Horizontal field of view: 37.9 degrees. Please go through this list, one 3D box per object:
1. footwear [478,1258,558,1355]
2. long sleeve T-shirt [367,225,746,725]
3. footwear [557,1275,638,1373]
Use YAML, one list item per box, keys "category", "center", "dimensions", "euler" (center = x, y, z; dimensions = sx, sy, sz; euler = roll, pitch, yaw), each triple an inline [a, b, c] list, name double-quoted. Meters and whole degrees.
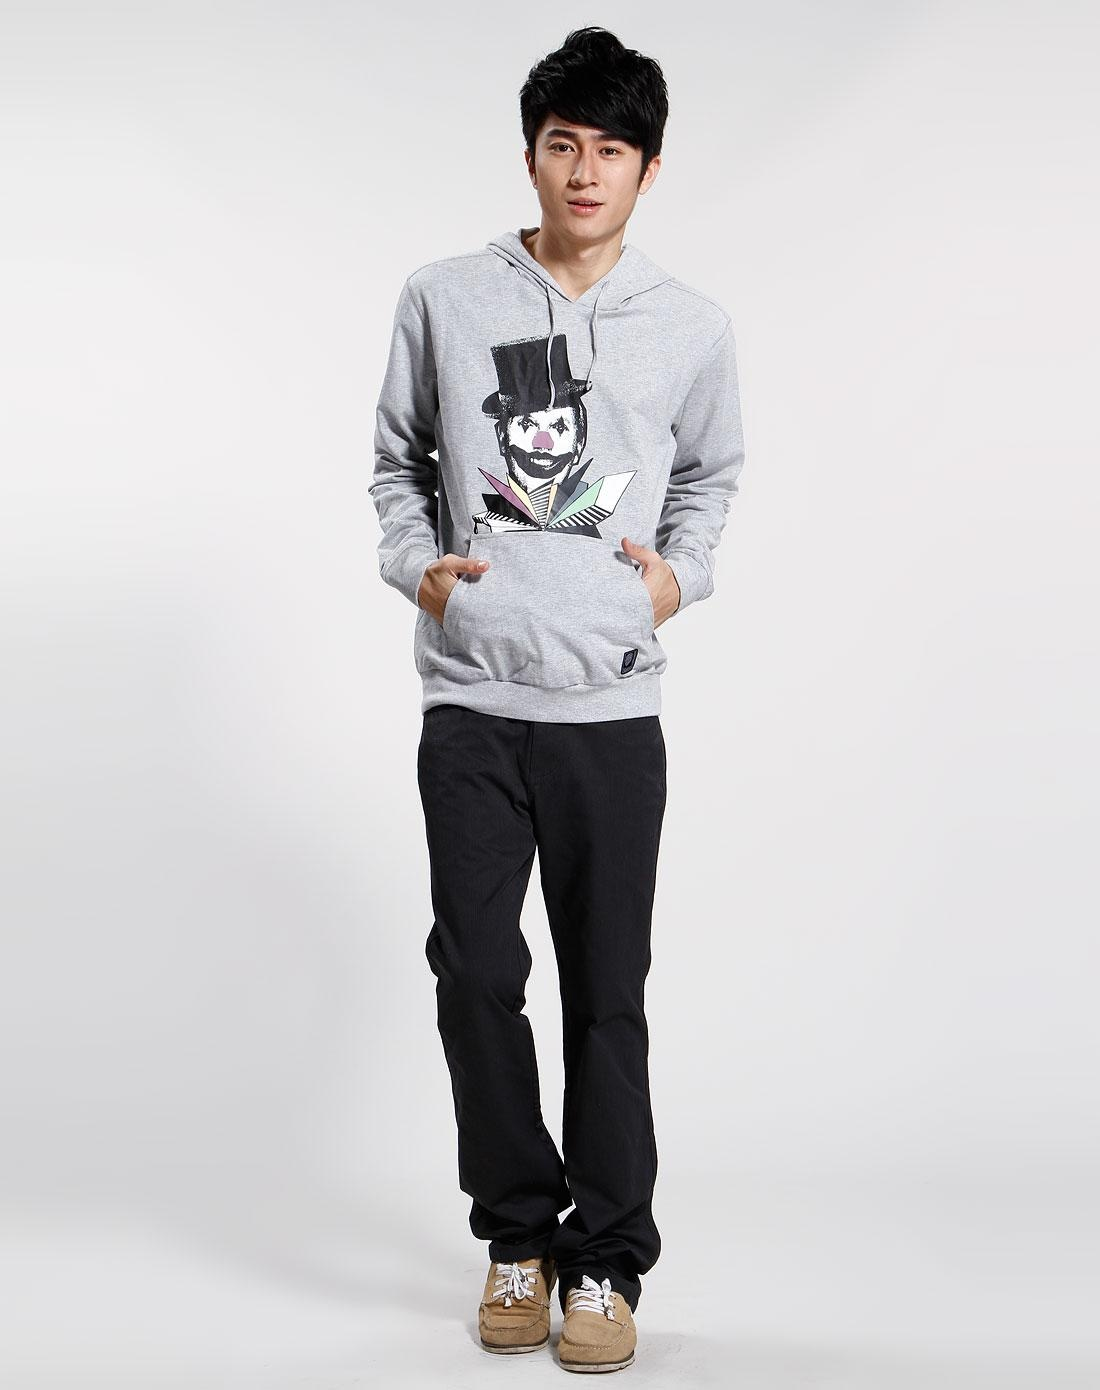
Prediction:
- category: "footwear"
  center: [-0.045, 0.891, 2.370]
  dimensions: [0.103, 0.092, 0.273]
  euler: [-4, -8, 6]
- category: "long sleeve T-shirt"
  center: [0.026, -0.318, 2.285]
  dimensions: [0.550, 0.687, 0.348]
  euler: [-1, 9, -6]
- category: "footwear"
  center: [0.067, 0.886, 2.258]
  dimensions: [0.106, 0.108, 0.112]
  euler: [0, 8, 0]
